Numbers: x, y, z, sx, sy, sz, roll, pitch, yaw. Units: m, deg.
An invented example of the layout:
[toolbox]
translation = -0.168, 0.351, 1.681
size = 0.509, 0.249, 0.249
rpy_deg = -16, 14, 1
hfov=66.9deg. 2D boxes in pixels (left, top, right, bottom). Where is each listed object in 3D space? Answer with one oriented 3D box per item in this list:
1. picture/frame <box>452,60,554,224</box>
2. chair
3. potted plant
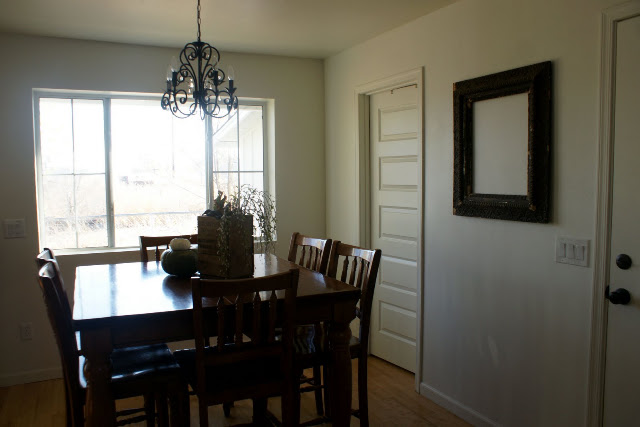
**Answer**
[picture/frame]
translation = 1.364, -0.509, 3.685
size = 0.100, 1.127, 0.774
rpy_deg = -8, 8, -41
[chair]
translation = -0.927, 0.965, 3.945
size = 2.285, 1.562, 2.119
rpy_deg = -1, 4, -17
[potted plant]
translation = -0.666, 0.124, 3.853
size = 0.489, 0.730, 0.718
rpy_deg = 2, 2, 25
